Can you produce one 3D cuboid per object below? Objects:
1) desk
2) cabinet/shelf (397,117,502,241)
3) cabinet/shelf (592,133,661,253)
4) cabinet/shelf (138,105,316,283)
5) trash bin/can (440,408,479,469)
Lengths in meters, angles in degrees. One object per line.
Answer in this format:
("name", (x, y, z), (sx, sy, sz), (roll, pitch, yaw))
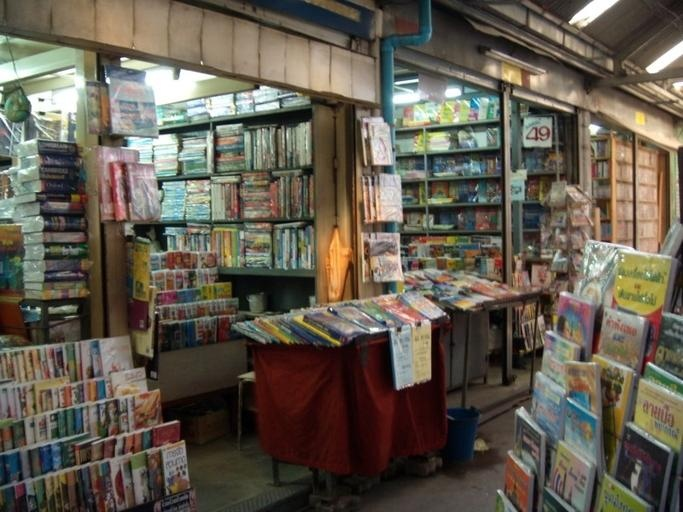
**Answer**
("desk", (0.082, 0.983, 4.128), (0.884, 0.878, 1.278), (1, 6, 39))
("cabinet/shelf", (1.750, -1.196, 8.759), (1.845, 1.966, 0.562), (3, 2, 41))
("cabinet/shelf", (5.810, -1.353, 11.531), (0.790, 2.570, 2.529), (-1, -1, 37))
("cabinet/shelf", (-1.120, -0.661, 6.057), (2.218, 1.642, 0.609), (1, 7, 39))
("trash bin/can", (0.974, 1.463, 4.550), (0.318, 0.367, 0.361), (-2, -9, 29))
